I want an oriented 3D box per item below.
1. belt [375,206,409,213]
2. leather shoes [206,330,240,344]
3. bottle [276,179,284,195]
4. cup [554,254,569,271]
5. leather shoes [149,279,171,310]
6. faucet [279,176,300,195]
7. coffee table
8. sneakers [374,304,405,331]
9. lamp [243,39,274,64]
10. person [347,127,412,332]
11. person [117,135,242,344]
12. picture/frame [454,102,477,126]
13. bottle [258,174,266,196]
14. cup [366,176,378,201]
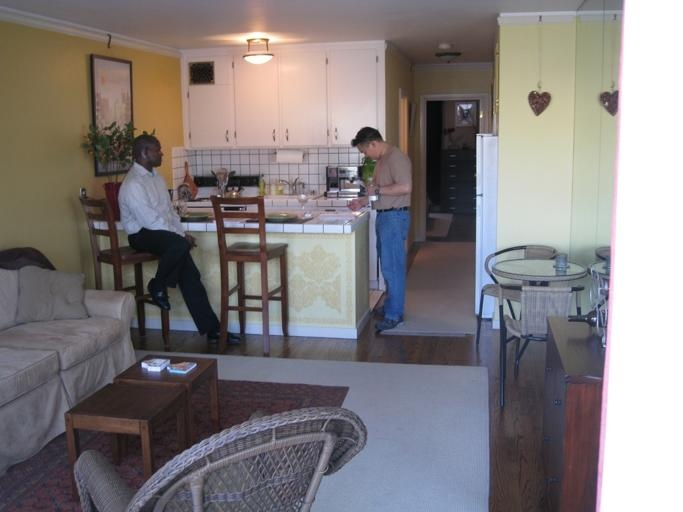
[{"bbox_3d":[0.438,-0.399,4.892,0.266,0.061,0.184,0,11,4],"label":"belt"},{"bbox_3d":[-0.966,0.657,4.692,0.283,0.122,0.107,0,4,2],"label":"leather shoes"},{"bbox_3d":[-0.774,-0.870,7.112,0.095,0.180,0.197,-2,11,-6],"label":"bottle"},{"bbox_3d":[1.477,0.042,3.833,0.104,0.128,0.106,-1,3,0],"label":"cup"},{"bbox_3d":[-1.439,0.292,4.488,0.107,0.259,0.085,-30,-1,31],"label":"leather shoes"},{"bbox_3d":[-0.667,-0.886,7.151,0.284,0.286,0.168,2,6,4],"label":"faucet"},{"bbox_3d":[-0.936,0.921,2.720,0.463,0.461,0.933,2,12,7],"label":"coffee table"},{"bbox_3d":[0.409,0.576,5.129,0.127,0.175,0.386,1,-2,34],"label":"sneakers"},{"bbox_3d":[-0.907,-2.187,6.059,0.363,0.283,0.405,5,19,16],"label":"lamp"},{"bbox_3d":[0.344,-0.248,4.999,0.517,1.750,0.531,0,11,5],"label":"person"},{"bbox_3d":[-1.392,-0.122,4.565,0.687,1.684,0.504,-5,11,-22],"label":"person"},{"bbox_3d":[2.585,-2.958,11.732,0.465,0.526,0.038,4,13,22],"label":"picture/frame"},{"bbox_3d":[-0.990,-0.888,7.097,0.080,0.238,0.286,-2,11,-7],"label":"bottle"},{"bbox_3d":[0.262,-0.604,4.848,0.075,0.236,0.171,-7,-8,-3],"label":"cup"}]
